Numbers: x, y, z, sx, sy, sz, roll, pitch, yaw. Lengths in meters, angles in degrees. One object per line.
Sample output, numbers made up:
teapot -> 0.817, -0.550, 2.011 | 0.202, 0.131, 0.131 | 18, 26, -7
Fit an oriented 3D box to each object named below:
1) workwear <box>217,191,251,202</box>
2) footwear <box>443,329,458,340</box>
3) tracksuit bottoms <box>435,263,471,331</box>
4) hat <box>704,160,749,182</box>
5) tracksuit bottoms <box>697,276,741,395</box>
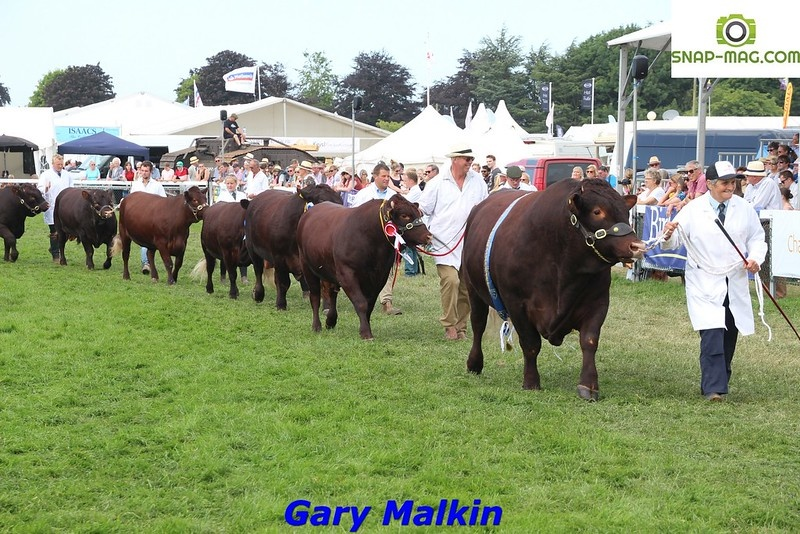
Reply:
workwear -> -3.195, -1.357, 17.851 | 0.496, 0.336, 0.235 | -1, 0, -16
footwear -> 0.742, 0.957, 13.428 | 0.181, 0.128, 0.180 | 1, 13, 2
tracksuit bottoms -> 0.766, 0.430, 13.557 | 0.461, 0.935, 0.398 | 1, 14, 2
hat -> 3.820, -1.156, 11.158 | 0.284, 0.193, 0.391 | -4, 6, -30
tracksuit bottoms -> 3.762, 0.911, 11.007 | 0.407, 1.179, 0.641 | 5, 14, 19
